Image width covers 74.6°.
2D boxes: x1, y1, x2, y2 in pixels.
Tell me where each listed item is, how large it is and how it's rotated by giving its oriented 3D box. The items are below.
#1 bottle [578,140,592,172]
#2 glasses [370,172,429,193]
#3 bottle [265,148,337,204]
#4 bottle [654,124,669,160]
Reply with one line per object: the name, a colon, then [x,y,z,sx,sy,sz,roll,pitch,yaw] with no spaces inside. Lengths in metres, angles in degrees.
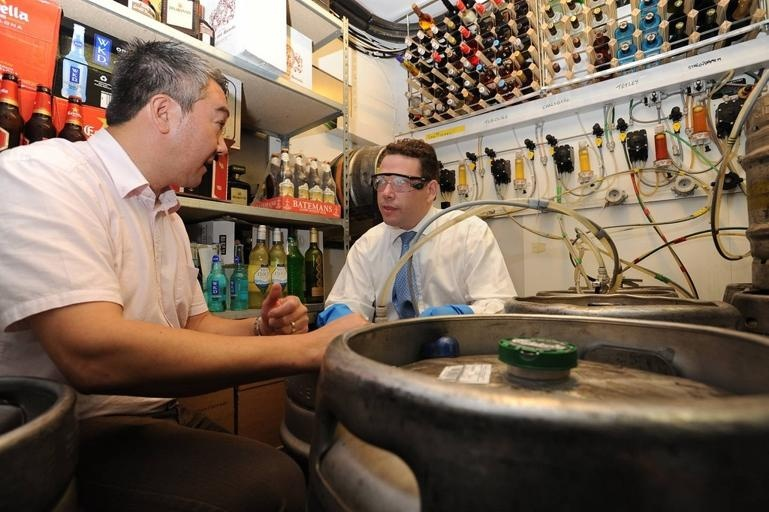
bottle: [1.168,-0.577,2.968,0.074,0.141,0.122,-4,1,23]
glasses: [0.074,-0.365,2.493,0.268,0.085,0.127,-4,1,4]
bottle: [-0.442,-0.412,2.651,0.133,0.407,0.388,-5,-6,38]
bottle: [1.482,-0.612,2.724,0.059,0.144,0.068,-4,1,28]
